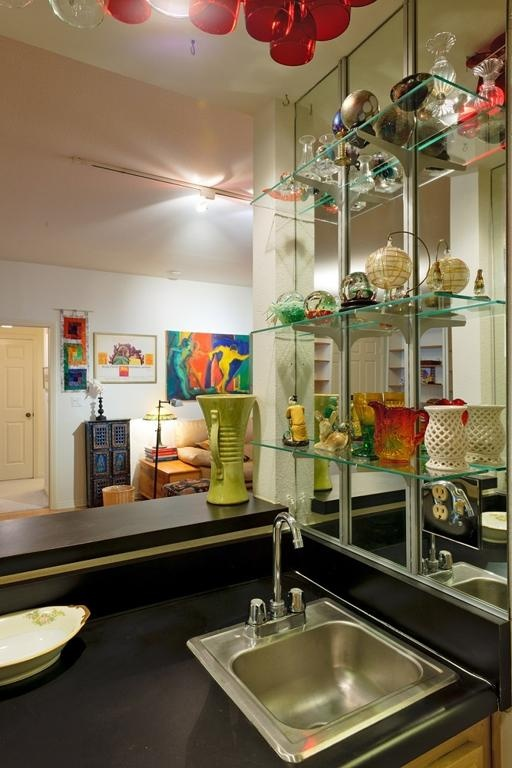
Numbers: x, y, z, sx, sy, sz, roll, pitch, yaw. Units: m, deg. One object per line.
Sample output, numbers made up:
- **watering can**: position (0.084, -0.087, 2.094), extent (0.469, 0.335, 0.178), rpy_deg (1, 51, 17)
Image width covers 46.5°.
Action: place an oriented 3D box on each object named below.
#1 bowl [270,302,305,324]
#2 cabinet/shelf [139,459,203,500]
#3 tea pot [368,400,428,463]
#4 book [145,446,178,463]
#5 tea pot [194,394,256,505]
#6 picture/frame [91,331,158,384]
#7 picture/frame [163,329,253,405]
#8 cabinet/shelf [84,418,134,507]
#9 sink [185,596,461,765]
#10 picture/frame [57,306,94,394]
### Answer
- **bowl**: position (0.086, -0.196, 1.704), extent (0.078, 0.035, 0.065), rpy_deg (-9, 4, -21)
- **cabinet/shelf**: position (-0.821, 0.889, 5.745), extent (0.407, 0.422, 0.689), rpy_deg (-1, 4, -28)
- **tea pot**: position (0.302, 0.106, 1.261), extent (0.075, 0.115, 0.123), rpy_deg (-4, 7, -34)
- **book**: position (-0.905, 0.689, 5.939), extent (0.208, 0.074, 0.182), rpy_deg (0, 1, -37)
- **tea pot**: position (-0.087, 0.198, 1.841), extent (0.171, 0.340, 0.177), rpy_deg (-2, 6, 0)
- **picture/frame**: position (-1.373, -0.260, 6.051), extent (0.566, 0.411, 0.019), rpy_deg (1, 0, -40)
- **picture/frame**: position (-0.516, -0.220, 6.784), extent (1.050, 0.718, 0.020), rpy_deg (3, 11, 33)
- **cabinet/shelf**: position (-1.413, 0.749, 5.716), extent (0.468, 0.802, 0.131), rpy_deg (-6, 7, -38)
- **sink**: position (0.090, 0.581, 1.268), extent (0.376, 0.141, 0.317), rpy_deg (-4, 7, -33)
- **picture/frame**: position (-1.745, -0.292, 5.748), extent (0.294, 0.733, 0.004), rpy_deg (-1, 3, -39)
